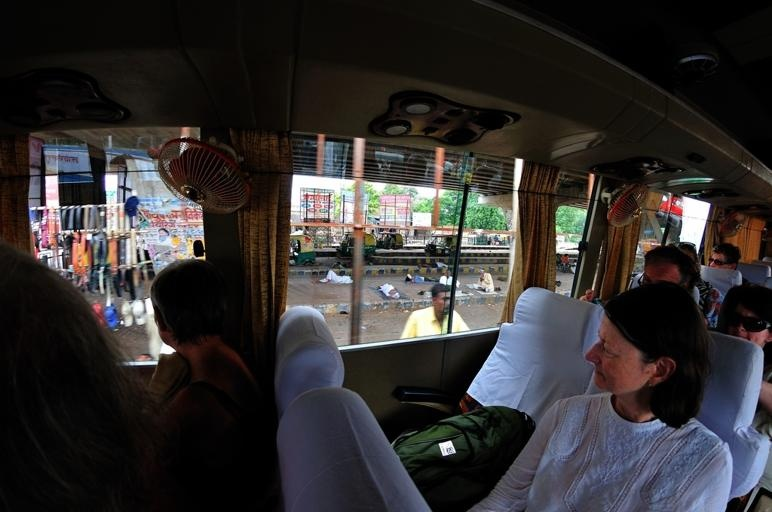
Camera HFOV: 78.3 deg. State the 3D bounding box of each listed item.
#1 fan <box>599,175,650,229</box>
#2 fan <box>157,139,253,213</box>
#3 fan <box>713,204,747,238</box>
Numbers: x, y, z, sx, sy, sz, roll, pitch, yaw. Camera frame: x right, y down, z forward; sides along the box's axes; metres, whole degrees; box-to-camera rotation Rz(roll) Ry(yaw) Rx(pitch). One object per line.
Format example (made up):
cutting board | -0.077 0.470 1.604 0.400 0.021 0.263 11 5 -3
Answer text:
fan | 2.227 -0.479 4.359 0.432 0.318 0.158 -15 42 -32
fan | -1.131 -0.519 2.989 0.513 0.200 0.483 -3 -40 15
fan | 4.881 -0.539 6.697 0.402 0.170 0.552 19 -21 21
